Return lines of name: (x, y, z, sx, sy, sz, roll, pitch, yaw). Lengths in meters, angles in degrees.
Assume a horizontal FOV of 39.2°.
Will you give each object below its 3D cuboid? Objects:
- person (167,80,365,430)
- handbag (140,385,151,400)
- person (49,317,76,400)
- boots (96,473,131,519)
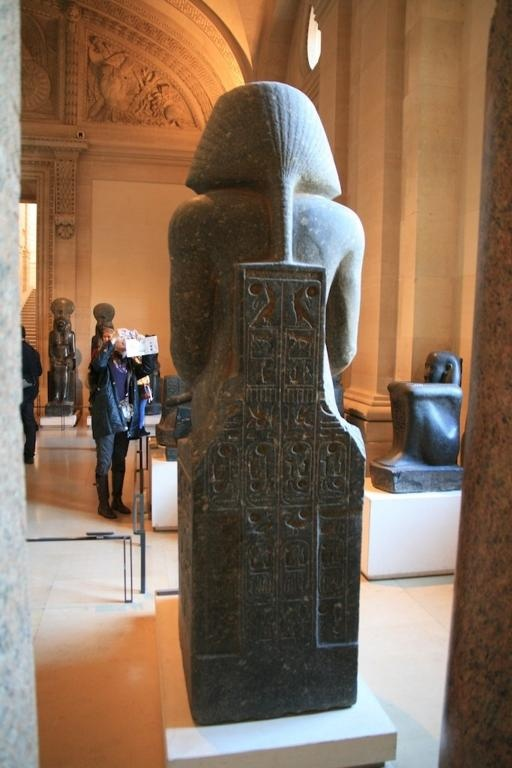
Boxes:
person: (0.047, -0.387, 1.970, 0.565, 0.839, 0.415, 0, 4, -9)
handbag: (-0.753, 0.064, 4.950, 0.058, 0.099, 0.090, 0, 9, -4)
person: (-2.873, -0.339, 10.611, 0.400, 1.263, 0.750, -1, 4, -18)
boots: (-1.019, 0.767, 4.989, 0.252, 0.381, 0.252, -3, -4, 39)
